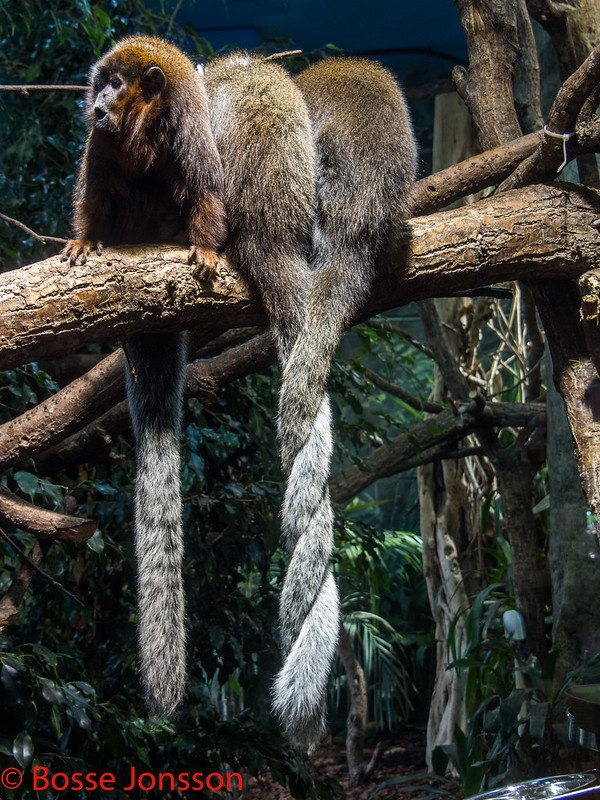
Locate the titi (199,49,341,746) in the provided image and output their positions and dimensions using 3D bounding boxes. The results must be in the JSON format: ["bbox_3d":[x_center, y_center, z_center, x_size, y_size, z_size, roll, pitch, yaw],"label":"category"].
[{"bbox_3d":[-0.063,-0.083,2.380,0.323,1.732,0.622,-1,2,-5],"label":"titi"}]
